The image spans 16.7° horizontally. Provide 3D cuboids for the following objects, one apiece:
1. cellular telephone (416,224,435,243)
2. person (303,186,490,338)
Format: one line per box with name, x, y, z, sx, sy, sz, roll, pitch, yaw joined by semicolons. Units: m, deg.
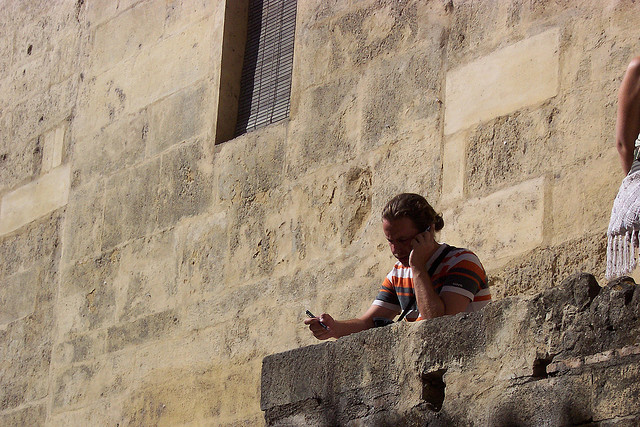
cellular telephone;0.710;0.122;15.013;0.152;0.135;0.034;-2;-28;-27
person;0.561;0.483;15.170;1.372;1.117;0.827;1;-4;-5
